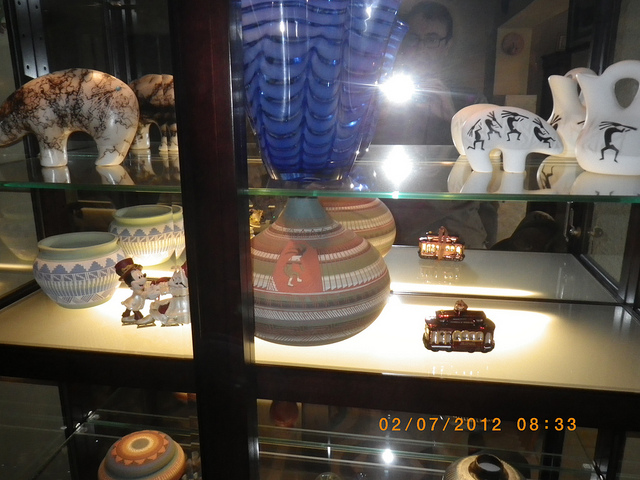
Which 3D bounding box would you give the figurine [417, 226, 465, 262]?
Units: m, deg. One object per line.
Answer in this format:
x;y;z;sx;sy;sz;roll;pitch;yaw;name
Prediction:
0.262;0.018;1.074;0.089;0.075;0.082;-1;17;10;figurine

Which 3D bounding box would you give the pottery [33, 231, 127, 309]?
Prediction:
-0.464;0.052;0.968;0.152;0.121;0.153;0;15;-9;pottery

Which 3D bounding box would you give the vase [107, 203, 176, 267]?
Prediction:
-0.361;-0.013;1.045;0.122;0.100;0.131;15;24;41;vase

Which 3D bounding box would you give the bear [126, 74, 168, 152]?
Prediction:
-0.313;-0.256;0.972;0.064;0.162;0.096;-1;24;-1;bear

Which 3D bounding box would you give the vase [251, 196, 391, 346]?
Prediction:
0.001;0.050;0.802;0.227;0.227;0.116;-5;13;-9;vase

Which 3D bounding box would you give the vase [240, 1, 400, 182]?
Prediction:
-0.004;-0.232;0.781;0.187;0.243;0.221;1;16;2;vase

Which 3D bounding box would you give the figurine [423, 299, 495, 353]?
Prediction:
0.226;0.145;0.812;0.114;0.069;0.063;-1;14;6;figurine

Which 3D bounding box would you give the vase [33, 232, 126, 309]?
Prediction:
-0.465;0.048;0.972;0.151;0.121;0.153;1;15;-6;vase

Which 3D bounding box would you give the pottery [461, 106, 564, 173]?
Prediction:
0.294;-0.155;0.759;0.143;0.106;0.049;6;26;22;pottery

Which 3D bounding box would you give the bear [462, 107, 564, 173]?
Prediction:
0.295;-0.156;0.759;0.146;0.107;0.050;6;27;22;bear

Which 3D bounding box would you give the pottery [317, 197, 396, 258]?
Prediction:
0.070;-0.045;0.974;0.150;0.135;0.112;8;19;19;pottery
